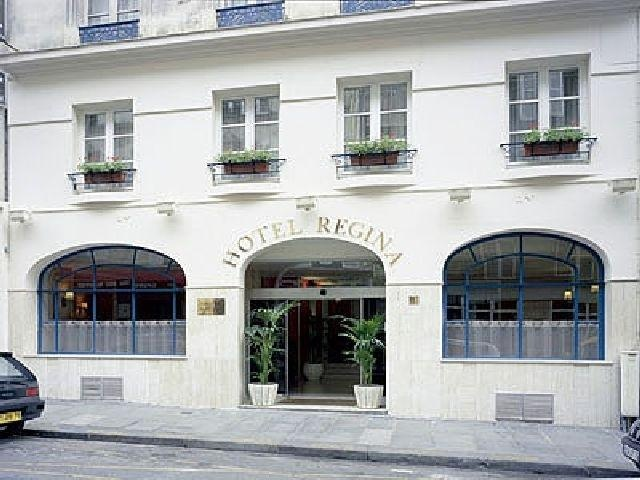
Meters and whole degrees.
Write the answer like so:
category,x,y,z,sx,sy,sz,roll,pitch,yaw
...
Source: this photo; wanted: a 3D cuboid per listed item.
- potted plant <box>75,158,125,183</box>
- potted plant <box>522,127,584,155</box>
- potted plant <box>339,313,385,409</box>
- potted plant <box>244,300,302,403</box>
category,x,y,z,sx,sy,sz,roll,pitch,yaw
potted plant,-5.697,-1.765,33.147,1.326,0.550,0.283,0,-6,4
potted plant,5.717,-2.401,30.888,1.435,0.614,0.336,-2,-6,20
potted plant,1.146,3.160,32.787,1.022,2.391,1.609,2,-6,-15
potted plant,-1.345,2.940,33.054,1.222,2.736,1.256,0,-6,9
